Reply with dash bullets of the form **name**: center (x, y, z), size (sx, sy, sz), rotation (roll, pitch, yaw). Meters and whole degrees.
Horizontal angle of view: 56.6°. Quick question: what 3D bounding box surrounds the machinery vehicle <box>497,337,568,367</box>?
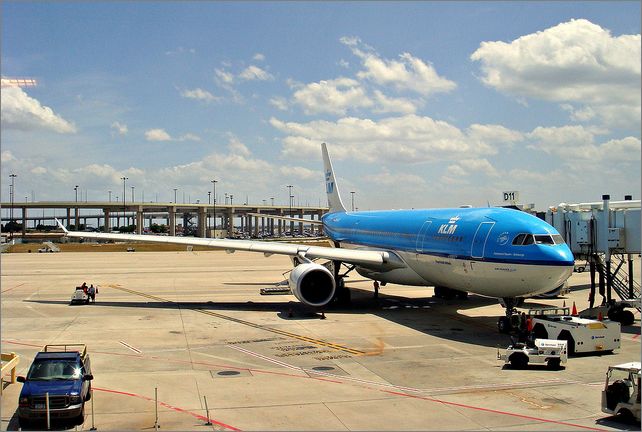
- **machinery vehicle**: center (9.064, 5.683, 24.639), size (2.776, 1.015, 1.640), rotation (-8, -13, 30)

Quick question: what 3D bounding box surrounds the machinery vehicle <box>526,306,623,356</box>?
- **machinery vehicle**: center (11.311, 5.031, 26.862), size (2.295, 1.320, 3.193), rotation (-6, -1, -16)

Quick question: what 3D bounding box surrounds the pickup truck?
- **pickup truck**: center (-8.915, 5.559, 20.120), size (1.857, 1.086, 2.957), rotation (1, -3, -8)

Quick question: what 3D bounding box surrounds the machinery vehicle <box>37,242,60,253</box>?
- **machinery vehicle**: center (-42.080, 4.883, 90.696), size (4.121, 1.547, 2.222), rotation (1, -1, 7)
